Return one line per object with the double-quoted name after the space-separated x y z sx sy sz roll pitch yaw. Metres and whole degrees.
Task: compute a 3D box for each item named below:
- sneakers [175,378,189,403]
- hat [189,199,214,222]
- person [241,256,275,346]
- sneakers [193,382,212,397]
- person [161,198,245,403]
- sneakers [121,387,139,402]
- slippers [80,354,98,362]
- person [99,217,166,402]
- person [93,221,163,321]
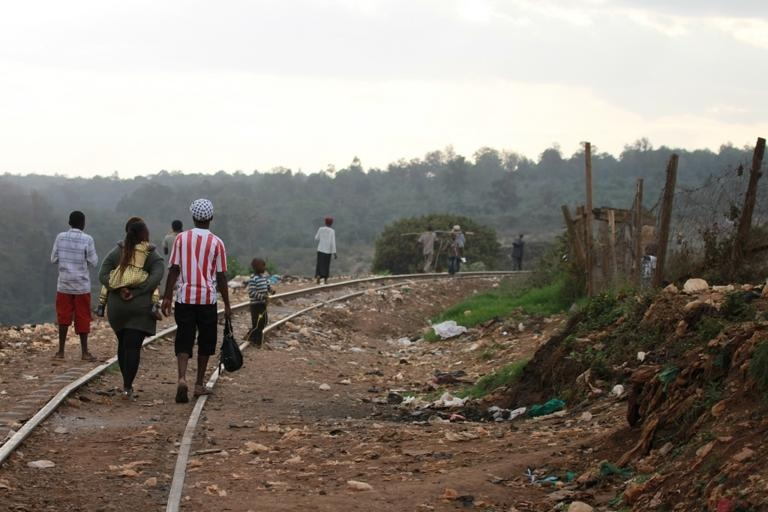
-2.877 1.930 11.099 0.156 0.367 0.155 2 26 -7 "sneakers"
-2.620 -0.654 11.207 0.351 0.409 0.494 3 16 -8 "hat"
-2.445 0.888 15.218 0.380 1.801 1.479 2 4 -8 "person"
-2.657 1.961 11.448 0.118 0.125 0.296 7 6 39 "sneakers"
-2.743 0.608 11.506 1.028 2.916 1.279 1 4 -15 "person"
-3.615 1.960 11.094 0.146 0.135 0.283 3 5 1 "sneakers"
-4.804 1.652 12.675 0.241 0.109 0.113 1 -5 -12 "slippers"
-3.599 0.716 11.083 0.844 2.528 0.542 1 5 -18 "person"
-3.744 0.280 11.554 0.884 1.958 0.676 7 25 -14 "person"
